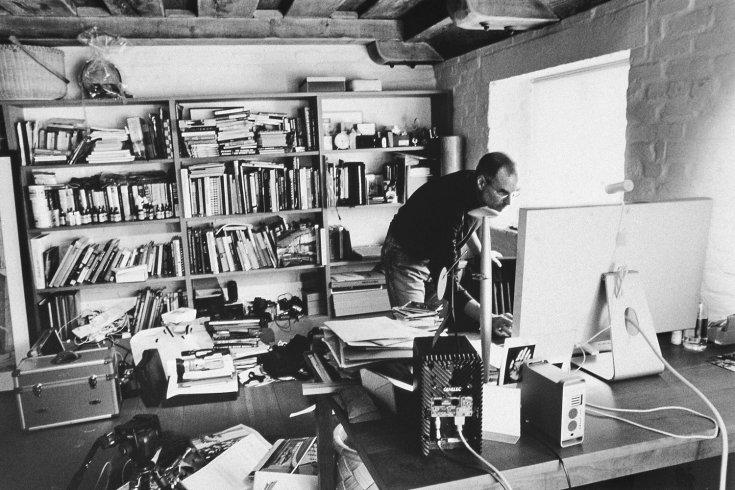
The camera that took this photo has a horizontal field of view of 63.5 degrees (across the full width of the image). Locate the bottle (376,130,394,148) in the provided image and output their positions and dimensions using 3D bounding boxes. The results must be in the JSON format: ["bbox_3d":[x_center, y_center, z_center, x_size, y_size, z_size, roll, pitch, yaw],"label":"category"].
[{"bbox_3d":[0.177,-1.020,5.742,0.189,0.155,0.044,1,-2,-10],"label":"bottle"}]

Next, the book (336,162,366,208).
[{"bbox_3d":[-0.153,-0.575,5.675,0.436,0.415,0.331,2,5,24],"label":"book"}]

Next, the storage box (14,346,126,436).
[{"bbox_3d":[-2.193,1.065,4.359,0.631,0.410,0.419,-6,5,-18],"label":"storage box"}]

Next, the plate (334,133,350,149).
[{"bbox_3d":[-0.230,-0.994,5.626,0.157,0.148,0.036,28,2,-33],"label":"plate"}]

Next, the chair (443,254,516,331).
[{"bbox_3d":[0.657,0.285,3.418,0.440,0.531,0.432,2,16,1],"label":"chair"}]

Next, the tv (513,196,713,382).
[{"bbox_3d":[1.205,0.205,2.751,1.115,0.735,0.366,-3,11,-19],"label":"tv"}]

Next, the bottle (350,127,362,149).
[{"bbox_3d":[-0.124,-1.041,5.711,0.109,0.209,0.058,-6,8,-5],"label":"bottle"}]

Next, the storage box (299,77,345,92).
[{"bbox_3d":[-0.387,-1.482,5.461,0.236,0.076,0.210,-1,6,-9],"label":"storage box"}]
